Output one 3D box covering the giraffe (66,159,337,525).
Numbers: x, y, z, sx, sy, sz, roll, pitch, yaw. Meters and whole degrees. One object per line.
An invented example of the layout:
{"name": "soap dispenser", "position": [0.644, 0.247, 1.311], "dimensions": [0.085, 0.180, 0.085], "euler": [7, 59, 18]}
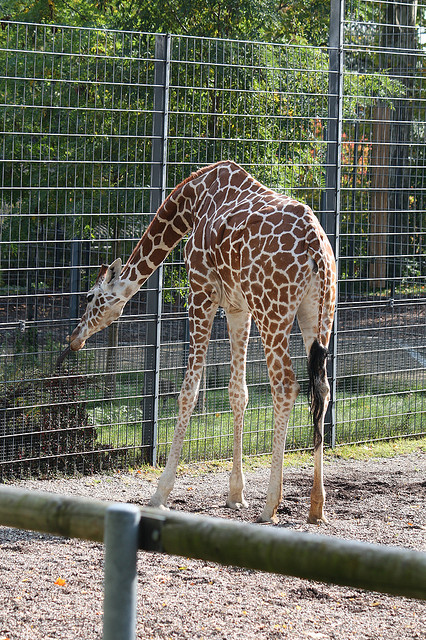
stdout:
{"name": "giraffe", "position": [-0.097, 0.098, 6.364], "dimensions": [1.849, 2.058, 0.571], "euler": [-2, -5, 40]}
